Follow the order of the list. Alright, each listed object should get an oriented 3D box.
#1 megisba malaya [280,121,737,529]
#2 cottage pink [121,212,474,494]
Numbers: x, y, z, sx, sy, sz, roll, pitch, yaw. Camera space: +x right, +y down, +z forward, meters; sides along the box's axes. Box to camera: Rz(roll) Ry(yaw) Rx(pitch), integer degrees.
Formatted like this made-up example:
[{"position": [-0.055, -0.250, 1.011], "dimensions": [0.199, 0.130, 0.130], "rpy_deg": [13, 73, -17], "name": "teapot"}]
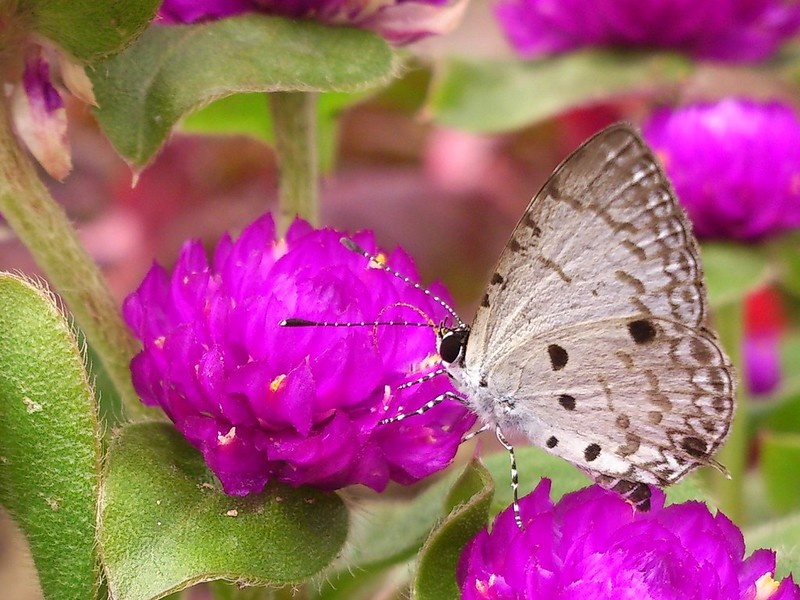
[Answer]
[{"position": [0.118, 0.026, 0.804], "dimensions": [0.380, 0.355, 0.283], "rpy_deg": [18, 83, 2], "name": "megisba malaya"}, {"position": [-0.074, 0.044, 0.663], "dimensions": [0.233, 0.113, 0.207], "rpy_deg": [-11, 75, 3], "name": "cottage pink"}]
